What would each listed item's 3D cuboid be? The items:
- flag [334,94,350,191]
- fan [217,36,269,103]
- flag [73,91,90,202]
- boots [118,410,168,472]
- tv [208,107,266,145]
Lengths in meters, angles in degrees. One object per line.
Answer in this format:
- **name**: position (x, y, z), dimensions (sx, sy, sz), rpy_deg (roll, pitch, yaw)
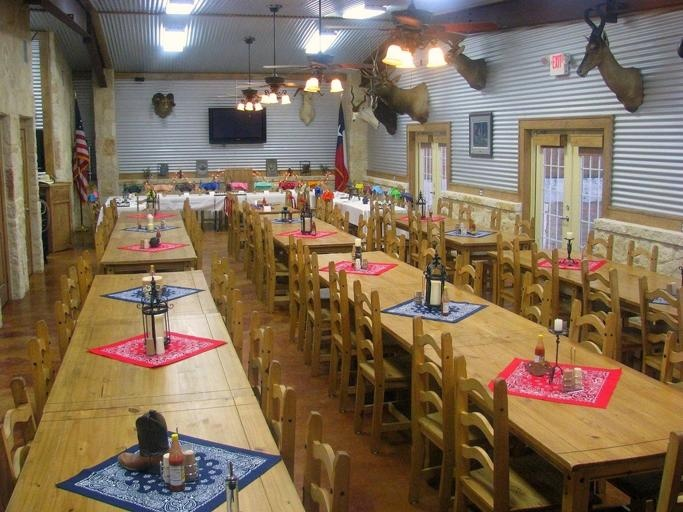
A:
- **flag**: position (0.009, -3.415, 16.283), dimensions (0.436, 2.678, 0.826), rpy_deg (4, 14, 20)
- **fan**: position (-1.911, -3.857, 10.812), dimensions (0.510, 1.308, 0.509), rpy_deg (-9, 28, -25)
- **flag**: position (-6.839, -2.580, 13.634), dimensions (0.314, 2.923, 0.382), rpy_deg (4, 7, 17)
- **boots**: position (-0.906, 0.827, 2.349), dimensions (0.224, 0.235, 0.171), rpy_deg (7, 15, 31)
- **tv**: position (-3.169, -4.005, 15.919), dimensions (1.776, 1.120, 0.249), rpy_deg (-5, 14, -15)
